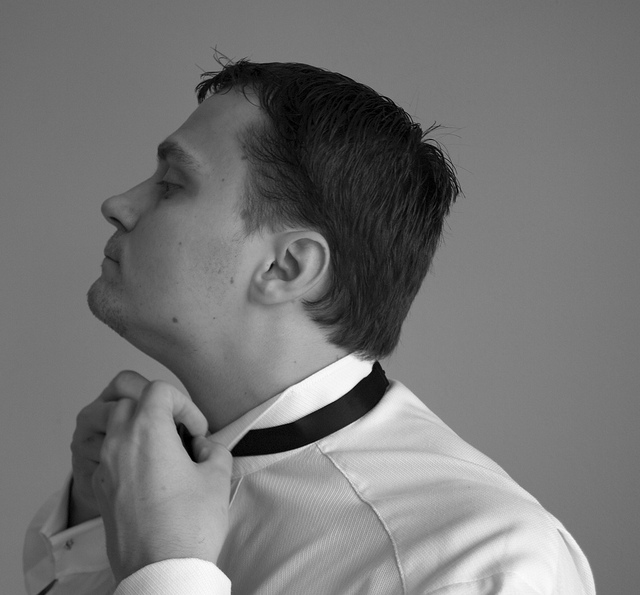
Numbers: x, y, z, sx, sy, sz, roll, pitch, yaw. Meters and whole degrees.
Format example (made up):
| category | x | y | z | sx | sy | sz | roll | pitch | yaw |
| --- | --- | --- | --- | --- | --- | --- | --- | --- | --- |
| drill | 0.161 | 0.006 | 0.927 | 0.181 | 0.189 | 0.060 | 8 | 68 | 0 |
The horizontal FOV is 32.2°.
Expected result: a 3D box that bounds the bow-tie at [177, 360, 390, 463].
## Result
| category | x | y | z | sx | sy | sz | roll | pitch | yaw |
| --- | --- | --- | --- | --- | --- | --- | --- | --- | --- |
| bow-tie | -0.026 | 0.274 | 2.320 | 0.374 | 0.093 | 0.408 | -17 | -9 | -24 |
